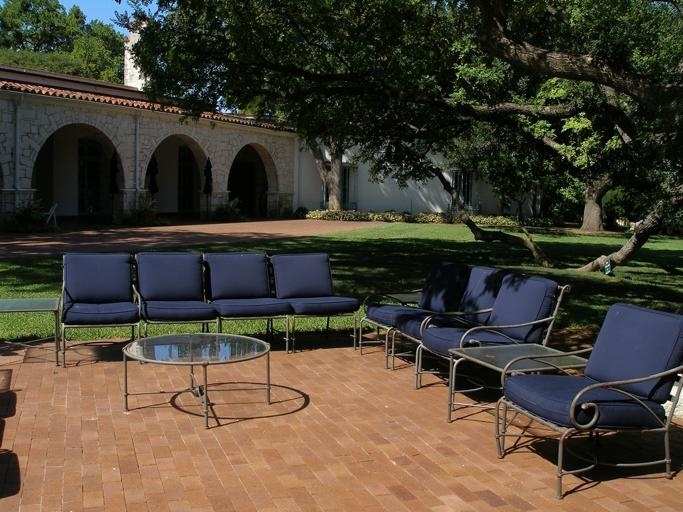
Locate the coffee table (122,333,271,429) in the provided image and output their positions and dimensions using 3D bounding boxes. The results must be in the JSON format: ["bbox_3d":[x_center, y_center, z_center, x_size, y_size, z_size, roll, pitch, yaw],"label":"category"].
[{"bbox_3d":[-1.380,1.109,5.281,0.972,0.357,0.909,3,4,-18],"label":"coffee table"}]

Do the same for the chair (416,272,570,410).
[{"bbox_3d":[1.493,0.770,5.767,1.386,0.993,0.887,-7,7,-20],"label":"chair"}]

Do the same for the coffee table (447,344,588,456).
[{"bbox_3d":[1.392,1.241,5.274,1.146,0.456,1.083,15,-11,-28],"label":"coffee table"}]

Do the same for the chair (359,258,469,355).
[{"bbox_3d":[0.900,0.579,6.775,1.233,0.868,0.831,-6,6,-24],"label":"chair"}]

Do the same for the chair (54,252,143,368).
[{"bbox_3d":[-2.755,0.465,6.484,1.075,1.230,1.322,-1,4,-19],"label":"chair"}]

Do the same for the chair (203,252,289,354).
[{"bbox_3d":[-1.158,0.524,6.899,1.024,0.975,1.205,0,10,-12],"label":"chair"}]

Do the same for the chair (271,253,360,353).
[{"bbox_3d":[-0.362,0.492,7.055,0.908,0.934,1.072,0,5,-18],"label":"chair"}]

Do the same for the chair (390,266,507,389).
[{"bbox_3d":[1.006,0.621,6.375,1.233,0.919,0.970,-7,14,-25],"label":"chair"}]

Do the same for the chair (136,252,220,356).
[{"bbox_3d":[-1.952,0.466,6.673,0.906,0.885,1.146,0,11,-33],"label":"chair"}]
